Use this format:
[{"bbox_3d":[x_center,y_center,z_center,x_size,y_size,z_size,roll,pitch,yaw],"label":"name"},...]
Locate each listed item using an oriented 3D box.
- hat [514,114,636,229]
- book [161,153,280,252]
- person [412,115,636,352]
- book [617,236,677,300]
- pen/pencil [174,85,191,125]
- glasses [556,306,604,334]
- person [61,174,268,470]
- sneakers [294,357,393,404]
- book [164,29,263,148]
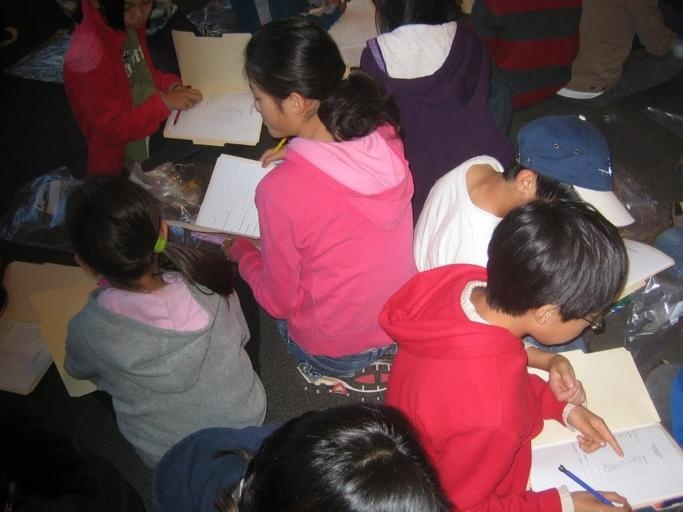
[{"bbox_3d":[0.902,-0.317,2.066,0.456,0.258,0.295,36,27,10],"label":"hat"},{"bbox_3d":[-0.486,-0.261,2.398,0.375,0.109,0.404,16,76,11],"label":"book"},{"bbox_3d":[0.693,-0.204,2.173,0.716,0.776,0.556,14,52,13],"label":"person"},{"bbox_3d":[1.173,0.023,2.171,0.208,0.072,0.295,-34,30,-8],"label":"book"},{"bbox_3d":[-0.784,-0.735,2.681,0.019,0.198,0.020,16,6,11],"label":"pen/pencil"},{"bbox_3d":[0.826,0.223,1.865,0.127,0.042,0.127,4,6,36],"label":"glasses"},{"bbox_3d":[-0.679,0.262,2.070,0.753,0.926,0.636,23,49,20],"label":"person"},{"bbox_3d":[0.014,0.585,2.688,0.503,0.190,0.221,0,5,1],"label":"sneakers"},{"bbox_3d":[-0.604,-0.765,2.873,0.553,0.397,0.543,1,69,7],"label":"book"}]
